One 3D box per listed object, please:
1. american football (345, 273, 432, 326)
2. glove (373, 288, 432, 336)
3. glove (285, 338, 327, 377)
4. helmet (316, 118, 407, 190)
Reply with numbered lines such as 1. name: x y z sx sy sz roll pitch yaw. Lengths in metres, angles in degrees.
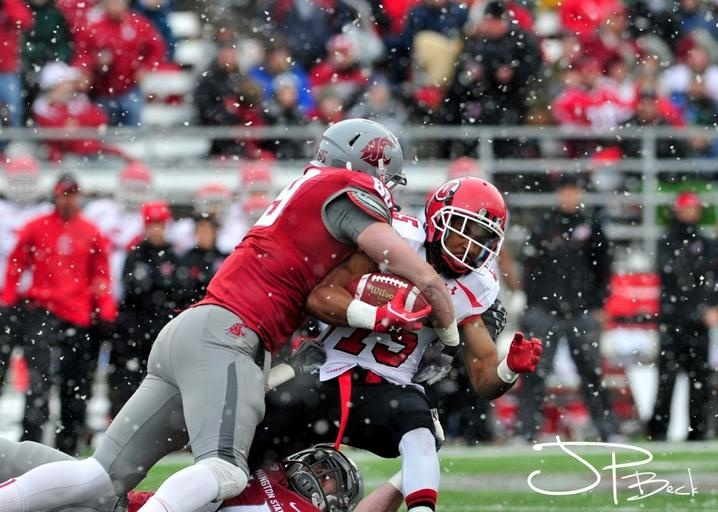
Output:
1. american football: 0.202 0.278 6.688 0.463 0.284 0.284 31 80 19
2. glove: 0.284 0.366 6.657 0.358 0.149 0.238 -10 69 -8
3. glove: -0.349 0.685 6.959 0.263 0.108 0.186 -38 66 -20
4. helmet: 0.010 -0.727 7.227 0.530 0.403 0.467 0 101 -15
